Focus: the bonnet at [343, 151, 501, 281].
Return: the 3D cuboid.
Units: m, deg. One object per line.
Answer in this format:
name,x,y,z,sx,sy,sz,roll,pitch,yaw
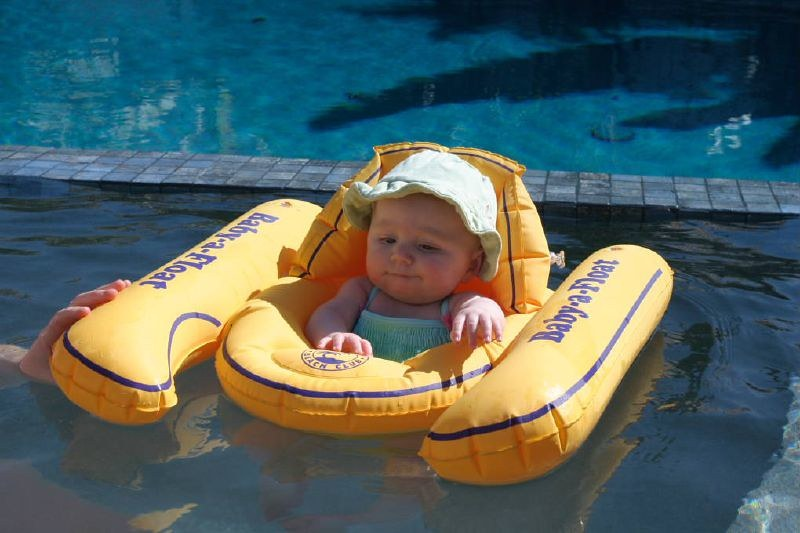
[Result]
bonnet,0.214,-0.322,4.148,1.007,0.879,0.429,24,66,7
